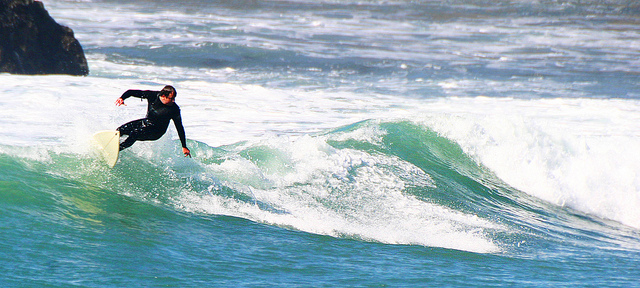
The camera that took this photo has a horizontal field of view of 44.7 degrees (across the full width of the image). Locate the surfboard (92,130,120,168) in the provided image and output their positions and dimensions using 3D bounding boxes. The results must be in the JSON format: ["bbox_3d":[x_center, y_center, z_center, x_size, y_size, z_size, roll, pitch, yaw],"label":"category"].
[{"bbox_3d":[-11.760,0.188,43.447,1.445,2.156,0.748,28,25,37],"label":"surfboard"}]
